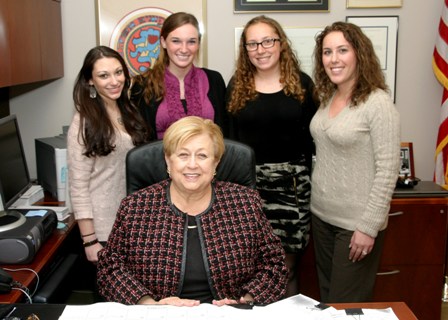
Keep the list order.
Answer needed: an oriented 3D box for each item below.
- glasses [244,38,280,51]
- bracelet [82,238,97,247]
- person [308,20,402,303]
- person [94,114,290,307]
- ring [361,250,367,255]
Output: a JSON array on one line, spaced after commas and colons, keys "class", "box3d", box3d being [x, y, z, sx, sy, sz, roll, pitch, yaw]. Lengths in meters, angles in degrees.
[{"class": "glasses", "box3d": [0.256, -0.776, 2.319, 0.215, 0.083, 0.069, 1, 19, 5]}, {"class": "bracelet", "box3d": [-0.829, 0.510, 2.159, 0.074, 0.048, 0.077, -6, 2, 44]}, {"class": "person", "box3d": [0.766, 0.091, 2.179, 0.393, 1.814, 0.619, -3, 18, -5]}, {"class": "person", "box3d": [-0.186, 0.296, 1.699, 0.975, 0.940, 0.717, 0, 14, 2]}, {"class": "ring", "box3d": [0.806, 0.532, 2.020, 0.014, 0.024, 0.025, 24, 47, 8]}]
